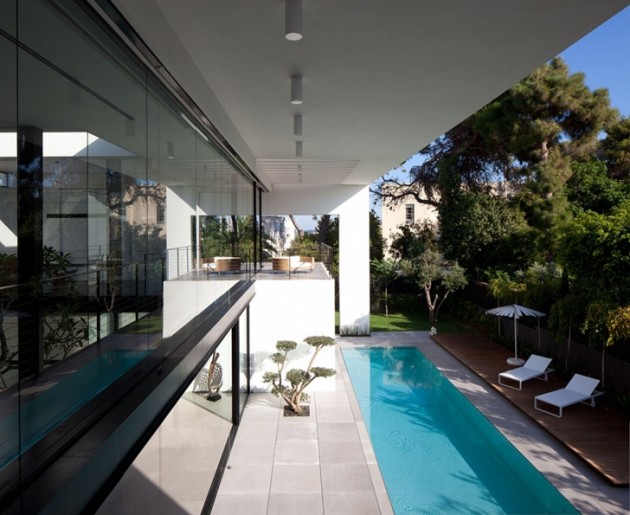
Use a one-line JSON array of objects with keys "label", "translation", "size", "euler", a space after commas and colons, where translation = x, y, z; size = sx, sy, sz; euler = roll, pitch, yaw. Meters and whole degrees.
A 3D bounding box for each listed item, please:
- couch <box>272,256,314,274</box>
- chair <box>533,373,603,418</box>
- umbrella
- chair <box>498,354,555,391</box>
[{"label": "couch", "translation": [-0.682, 0.213, 12.744], "size": [0.861, 0.436, 1.399], "euler": [-7, 3, 28]}, {"label": "chair", "translation": [5.371, 2.832, 8.621], "size": [1.466, 0.590, 0.664], "euler": [-2, -3, -34]}, {"label": "umbrella", "translation": [5.871, 2.033, 11.830], "size": [1.490, 1.471, 1.419], "euler": [1, -5, -1]}, {"label": "chair", "translation": [5.222, 2.757, 10.065], "size": [1.367, 0.532, 0.664], "euler": [1, -3, -39]}]
